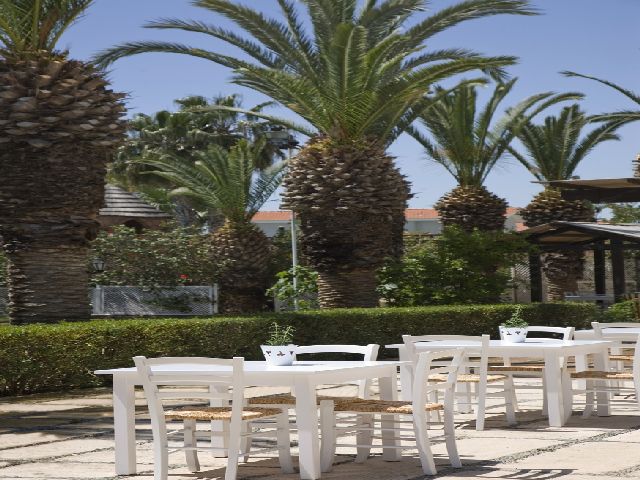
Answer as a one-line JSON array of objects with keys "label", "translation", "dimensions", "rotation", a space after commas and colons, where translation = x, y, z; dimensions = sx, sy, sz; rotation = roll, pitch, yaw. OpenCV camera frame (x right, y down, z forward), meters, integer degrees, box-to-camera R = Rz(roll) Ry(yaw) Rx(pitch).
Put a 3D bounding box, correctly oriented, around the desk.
[{"label": "desk", "translation": [-0.984, 2.932, 21.449], "dimensions": [4.577, 1.871, 1.188], "rotation": [-1, -7, 1]}]
